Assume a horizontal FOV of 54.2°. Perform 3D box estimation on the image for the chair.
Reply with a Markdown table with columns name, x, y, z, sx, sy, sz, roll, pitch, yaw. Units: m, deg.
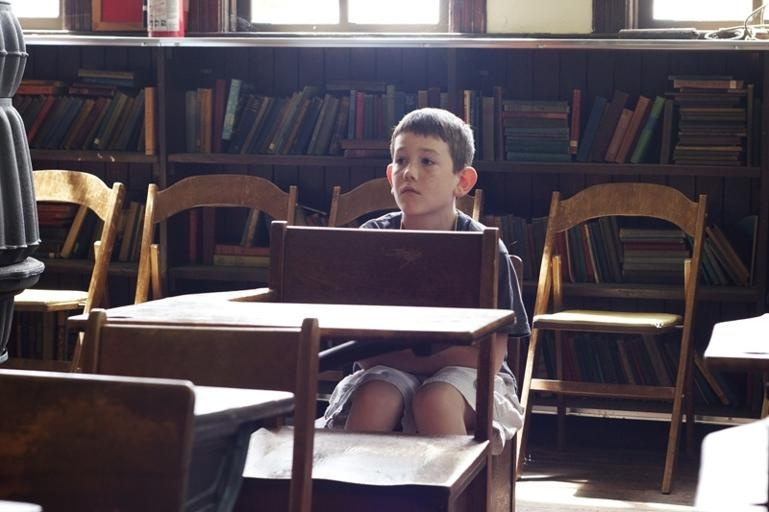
| name | x | y | z | sx | sy | sz | roll | pitch | yaw |
| --- | --- | --- | --- | --- | --- | --- | --- | --- | --- |
| chair | 0.097 | 0.215 | 2.061 | 1.106 | 0.545 | 0.795 | 2 | 3 | 18 |
